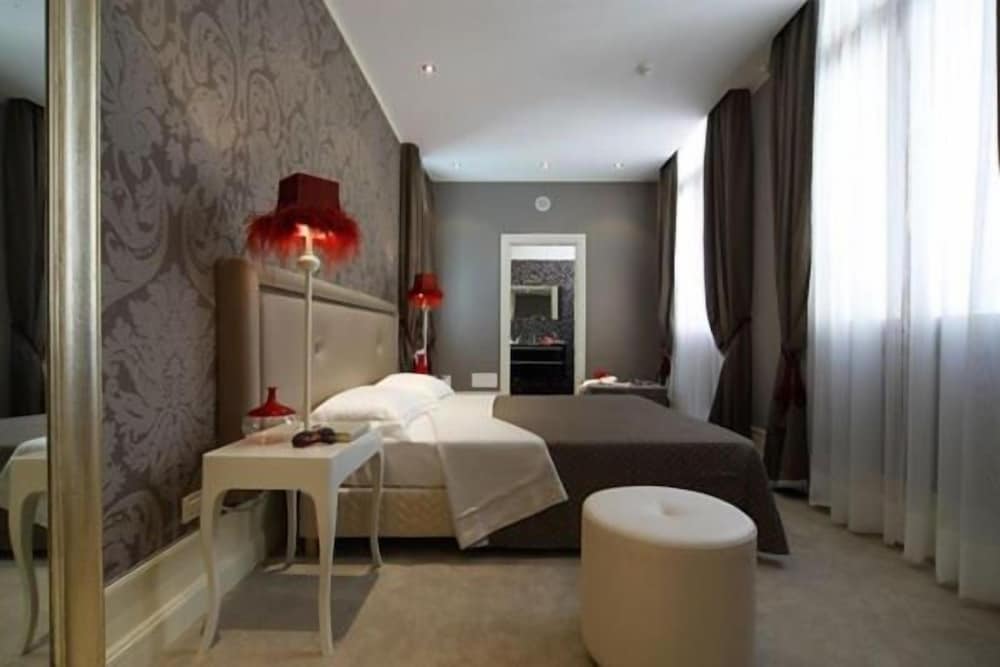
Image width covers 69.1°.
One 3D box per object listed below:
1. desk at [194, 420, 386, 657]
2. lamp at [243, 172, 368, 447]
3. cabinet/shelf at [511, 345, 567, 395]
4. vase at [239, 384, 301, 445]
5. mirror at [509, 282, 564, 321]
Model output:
[{"bbox_3d":[-0.982,0.919,3.639,0.570,0.819,1.082,1,0,1],"label":"desk"},{"bbox_3d":[-0.951,-0.129,3.606,0.452,1.294,0.509,-1,8,-43],"label":"lamp"},{"bbox_3d":[0.409,0.427,8.304,0.829,0.783,0.463,0,-6,1],"label":"cabinet/shelf"},{"bbox_3d":[-1.081,0.372,3.422,0.381,0.276,0.397,-1,-2,-21],"label":"vase"},{"bbox_3d":[0.398,-0.372,8.290,0.631,0.461,0.346,1,-4,-1],"label":"mirror"}]
